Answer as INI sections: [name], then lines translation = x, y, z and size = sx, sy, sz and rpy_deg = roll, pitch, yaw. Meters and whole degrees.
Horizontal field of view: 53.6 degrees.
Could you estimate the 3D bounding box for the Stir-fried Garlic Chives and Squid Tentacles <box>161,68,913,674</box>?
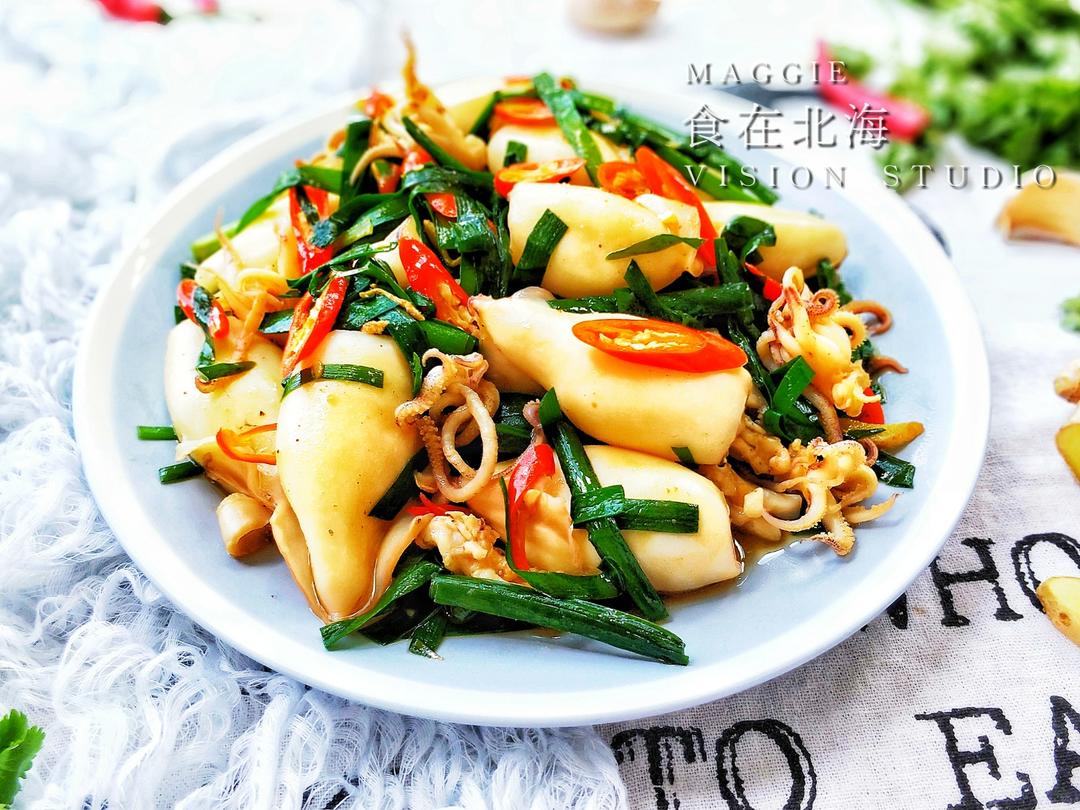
[Stir-fried Garlic Chives and Squid Tentacles]
translation = 0.129, -0.407, 3.539
size = 2.301, 2.627, 1.547
rpy_deg = -9, 106, -29
